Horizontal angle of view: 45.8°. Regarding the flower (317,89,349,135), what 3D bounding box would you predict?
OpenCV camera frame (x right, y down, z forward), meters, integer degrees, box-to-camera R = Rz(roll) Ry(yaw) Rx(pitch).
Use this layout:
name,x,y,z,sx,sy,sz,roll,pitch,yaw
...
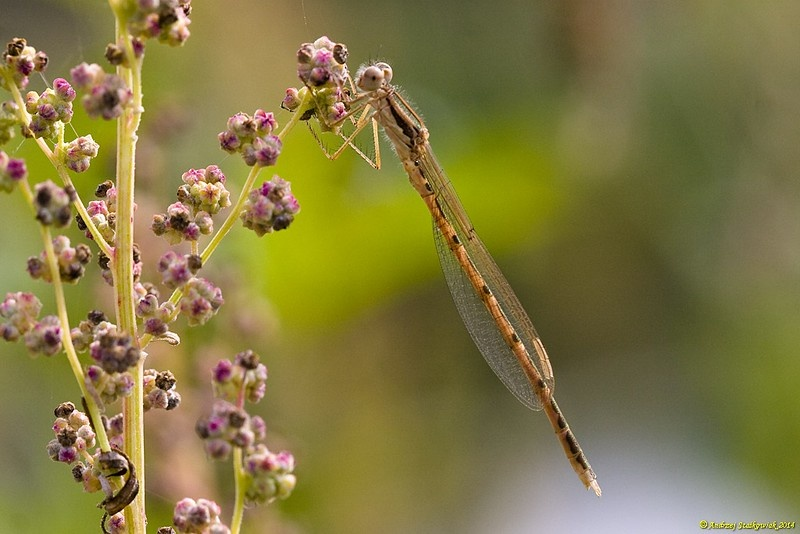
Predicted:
name,x,y,z,sx,sy,sz,roll,pitch,yaw
flower,-0.136,-0.313,1.878,0.046,0.077,0.030,-11,14,-33

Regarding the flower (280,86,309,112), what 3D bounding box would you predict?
name,x,y,z,sx,sy,sz,roll,pitch,yaw
flower,-0.216,-0.337,1.890,0.030,0.049,0.071,11,-3,-25

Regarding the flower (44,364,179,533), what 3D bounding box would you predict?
name,x,y,z,sx,sy,sz,roll,pitch,yaw
flower,-0.554,0.346,1.833,0.220,0.317,0.182,8,-3,21

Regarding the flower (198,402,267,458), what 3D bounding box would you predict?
name,x,y,z,sx,sy,sz,roll,pitch,yaw
flower,-0.297,0.302,1.744,0.075,0.102,0.145,7,-5,43

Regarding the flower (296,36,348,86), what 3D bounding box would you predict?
name,x,y,z,sx,sy,sz,roll,pitch,yaw
flower,-0.157,-0.402,1.862,0.097,0.085,0.048,9,-14,-15

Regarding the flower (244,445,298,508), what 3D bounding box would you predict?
name,x,y,z,sx,sy,sz,roll,pitch,yaw
flower,-0.241,0.380,1.728,0.102,0.055,0.084,3,3,0

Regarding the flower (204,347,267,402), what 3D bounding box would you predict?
name,x,y,z,sx,sy,sz,roll,pitch,yaw
flower,-0.302,0.202,1.759,0.102,0.098,0.044,10,-3,-3

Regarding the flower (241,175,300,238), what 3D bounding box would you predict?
name,x,y,z,sx,sy,sz,roll,pitch,yaw
flower,-0.248,-0.112,1.795,0.105,0.111,0.061,-17,-13,8

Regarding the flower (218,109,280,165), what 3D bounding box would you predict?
name,x,y,z,sx,sy,sz,roll,pitch,yaw
flower,-0.290,-0.237,1.810,0.091,0.086,0.114,11,0,-2
